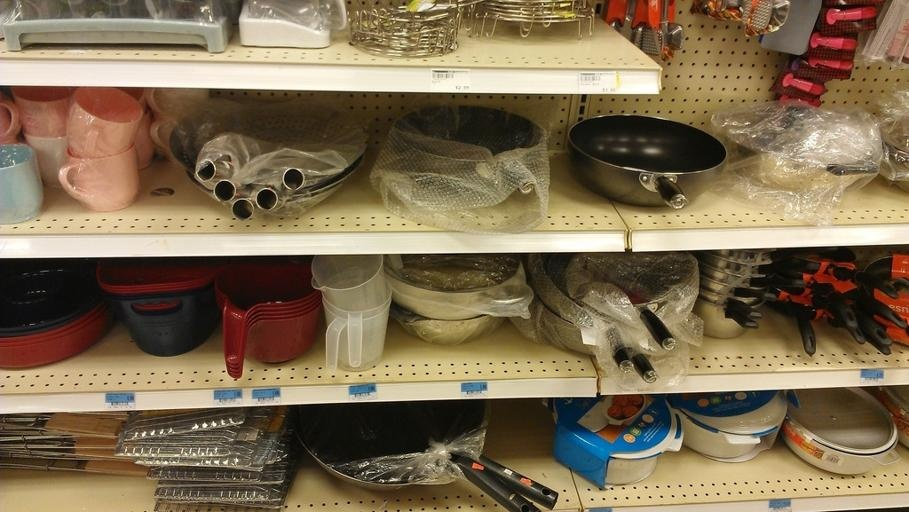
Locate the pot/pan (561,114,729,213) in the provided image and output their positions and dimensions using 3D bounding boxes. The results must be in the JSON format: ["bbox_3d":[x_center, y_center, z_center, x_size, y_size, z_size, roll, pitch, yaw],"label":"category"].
[{"bbox_3d":[0.687,-0.371,2.451,0.610,0.359,0.637,10,27,4],"label":"pot/pan"}]

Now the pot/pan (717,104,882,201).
[{"bbox_3d":[1.267,-0.415,2.426,0.424,0.153,0.430,21,43,37],"label":"pot/pan"}]

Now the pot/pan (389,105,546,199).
[{"bbox_3d":[0.045,-0.393,2.380,0.582,0.155,0.420,8,35,7],"label":"pot/pan"}]

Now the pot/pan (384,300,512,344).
[{"bbox_3d":[-0.047,0.280,2.630,0.237,0.076,0.234,2,3,0],"label":"pot/pan"}]

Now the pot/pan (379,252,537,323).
[{"bbox_3d":[0.020,0.110,2.507,0.389,0.311,0.425,2,4,-23],"label":"pot/pan"}]

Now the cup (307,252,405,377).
[{"bbox_3d":[-0.363,0.198,2.458,0.316,0.383,0.426,-1,28,-6],"label":"cup"}]

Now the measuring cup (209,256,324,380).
[{"bbox_3d":[-0.685,0.193,2.434,0.370,0.319,0.461,15,36,16],"label":"measuring cup"}]

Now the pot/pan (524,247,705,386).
[{"bbox_3d":[0.601,0.185,2.466,0.485,0.232,0.607,-3,34,1],"label":"pot/pan"}]
